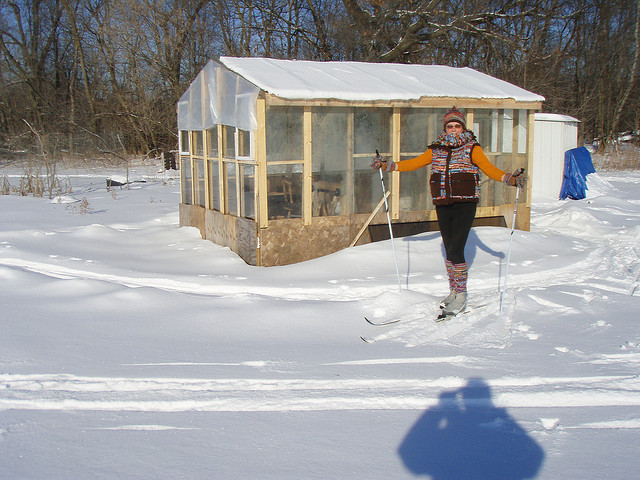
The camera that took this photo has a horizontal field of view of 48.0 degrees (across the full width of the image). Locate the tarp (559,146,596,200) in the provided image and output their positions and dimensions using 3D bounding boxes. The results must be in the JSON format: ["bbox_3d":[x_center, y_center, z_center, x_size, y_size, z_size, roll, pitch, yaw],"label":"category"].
[{"bbox_3d":[7.827,-2.364,21.516,0.814,1.486,2.335,4,29,33],"label":"tarp"}]

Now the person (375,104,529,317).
[{"bbox_3d":[2.048,-0.437,10.123,0.924,2.886,0.641,-3,8,-19],"label":"person"}]

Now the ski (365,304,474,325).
[{"bbox_3d":[1.094,1.056,9.977,0.941,0.113,0.136,-13,7,-14],"label":"ski"}]
